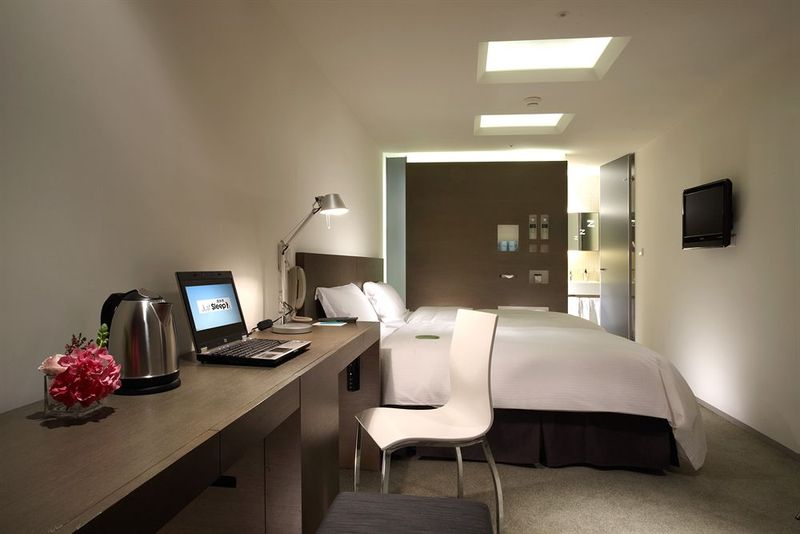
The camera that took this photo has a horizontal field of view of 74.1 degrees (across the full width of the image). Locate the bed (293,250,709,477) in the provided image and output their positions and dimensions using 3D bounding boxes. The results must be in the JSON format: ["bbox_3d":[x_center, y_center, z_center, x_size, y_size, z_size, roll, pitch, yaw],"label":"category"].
[{"bbox_3d":[0.892,0.838,3.921,1.874,1.008,1.969,0,-1,2],"label":"bed"}]

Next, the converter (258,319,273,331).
[{"bbox_3d":[-0.774,0.331,3.056,0.051,0.061,0.076,3,9,36],"label":"converter"}]

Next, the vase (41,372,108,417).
[{"bbox_3d":[-1.207,0.515,2.015,0.181,0.189,0.188,3,2,14],"label":"vase"}]

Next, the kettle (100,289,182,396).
[{"bbox_3d":[-1.051,0.297,2.167,0.325,0.407,0.278,1,5,16],"label":"kettle"}]

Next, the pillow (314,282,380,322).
[{"bbox_3d":[-0.424,0.246,4.088,0.245,0.231,0.558,22,4,17],"label":"pillow"}]

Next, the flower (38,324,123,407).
[{"bbox_3d":[-1.174,0.378,1.955,0.247,0.223,0.277,6,13,-15],"label":"flower"}]

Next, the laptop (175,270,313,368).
[{"bbox_3d":[-0.732,0.227,2.580,0.526,0.410,0.586,1,-1,-4],"label":"laptop"}]
